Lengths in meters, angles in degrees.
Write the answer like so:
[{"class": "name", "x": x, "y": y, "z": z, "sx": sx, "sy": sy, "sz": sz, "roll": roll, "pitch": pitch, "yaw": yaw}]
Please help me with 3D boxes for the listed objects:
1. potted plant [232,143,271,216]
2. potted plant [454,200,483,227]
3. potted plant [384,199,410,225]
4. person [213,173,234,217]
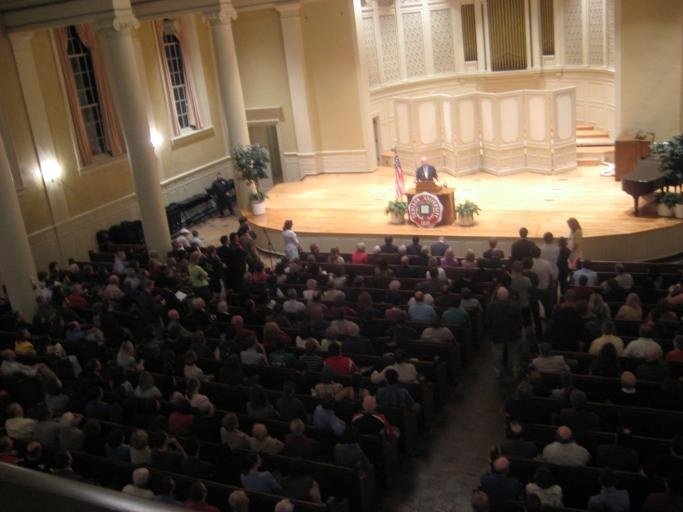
[{"class": "potted plant", "x": -2.452, "y": -2.131, "z": 15.134, "sx": 0.963, "sy": 1.856, "sz": 1.162, "roll": -7, "pitch": 14, "yaw": -5}, {"class": "potted plant", "x": 2.927, "y": -1.038, "z": 12.511, "sx": 0.550, "sy": 0.549, "sz": 0.572, "roll": 13, "pitch": 26, "yaw": 27}, {"class": "potted plant", "x": 1.344, "y": -1.096, "z": 13.173, "sx": 0.496, "sy": 0.501, "sz": 0.540, "roll": 1, "pitch": 21, "yaw": 2}, {"class": "person", "x": -3.717, "y": -1.978, "z": 17.571, "sx": 0.719, "sy": 1.310, "sz": 0.629, "roll": 4, "pitch": 17, "yaw": 34}]
